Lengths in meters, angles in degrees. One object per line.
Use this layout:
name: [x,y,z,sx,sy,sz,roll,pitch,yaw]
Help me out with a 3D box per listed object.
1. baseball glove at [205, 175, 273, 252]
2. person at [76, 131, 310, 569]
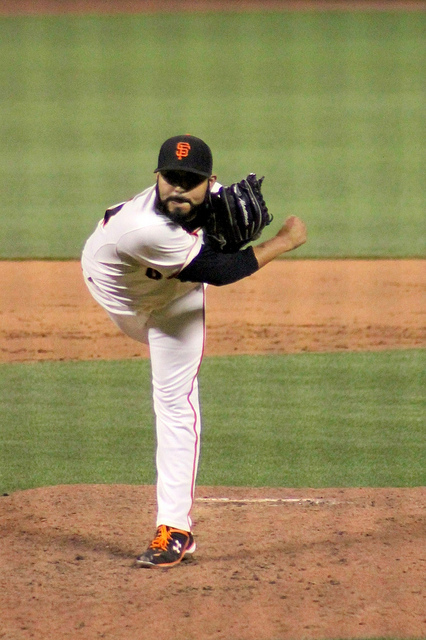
baseball glove: [0.114,-0.464,4.993,0.201,0.319,0.322,7,16,32]
person: [-0.110,0.133,5.097,0.946,1.900,0.595,-2,14,-1]
